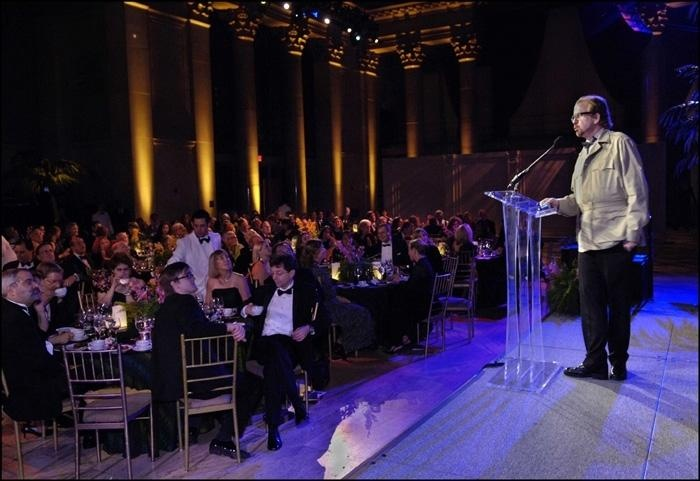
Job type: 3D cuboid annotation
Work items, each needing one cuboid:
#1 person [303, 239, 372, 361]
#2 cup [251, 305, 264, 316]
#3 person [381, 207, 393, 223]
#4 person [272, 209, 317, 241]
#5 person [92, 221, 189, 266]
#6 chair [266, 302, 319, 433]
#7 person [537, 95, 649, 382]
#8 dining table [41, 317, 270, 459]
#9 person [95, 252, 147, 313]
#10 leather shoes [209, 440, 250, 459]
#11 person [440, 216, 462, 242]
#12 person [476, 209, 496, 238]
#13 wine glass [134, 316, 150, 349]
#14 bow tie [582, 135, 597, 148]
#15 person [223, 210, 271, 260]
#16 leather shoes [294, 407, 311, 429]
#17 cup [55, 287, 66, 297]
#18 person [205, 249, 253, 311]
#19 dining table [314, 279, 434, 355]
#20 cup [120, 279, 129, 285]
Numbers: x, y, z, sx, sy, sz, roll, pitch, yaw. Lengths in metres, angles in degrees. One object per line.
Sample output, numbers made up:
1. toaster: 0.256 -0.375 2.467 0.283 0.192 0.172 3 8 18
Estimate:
1. person: -0.206 0.868 8.214 0.964 1.820 0.720 -11 10 -26
2. cup: -1.102 0.826 6.186 0.104 0.067 0.126 1 -4 -2
3. person: 1.327 -0.862 18.865 0.377 0.404 1.273 7 4 3
4. person: -1.758 -0.400 15.094 1.235 0.930 1.706 -2 0 4
5. person: -4.406 0.129 10.787 1.475 0.542 1.636 3 5 16
6. chair: -0.713 1.445 5.863 0.446 0.418 0.984 12 28 -12
7. person: 2.955 -0.012 6.063 0.814 3.262 0.516 -1 9 25
8. dining table: -2.109 1.547 6.229 1.557 2.460 1.512 0 3 34
9. person: -2.946 0.496 6.748 0.557 0.347 0.764 -10 21 -12
10. leather shoes: -1.271 2.165 5.506 0.449 0.198 0.170 4 -8 8
11. person: 2.625 -0.225 13.706 0.537 0.739 0.323 19 17 37
12. person: 4.016 -0.492 15.654 0.559 0.777 0.917 -3 9 13
13. wine glass: -2.233 0.993 5.717 0.170 0.210 0.183 -12 -5 -16
14. bow tie: 2.805 -1.157 6.125 0.138 0.061 0.097 -21 -4 -40
15. person: -2.383 -0.130 11.890 1.230 0.480 0.934 26 37 29
16. leather shoes: -0.553 2.022 5.948 0.124 0.150 0.358 -2 -18 -7
17. cup: -3.459 0.614 6.238 0.110 0.094 0.142 0 -8 -11
18. person: -1.704 0.655 7.032 0.600 1.010 0.577 -5 4 0
19. dining table: 0.560 1.238 8.511 1.384 0.801 1.114 -2 1 21
20. cup: -2.882 0.523 6.687 0.122 0.074 0.082 -1 9 28
